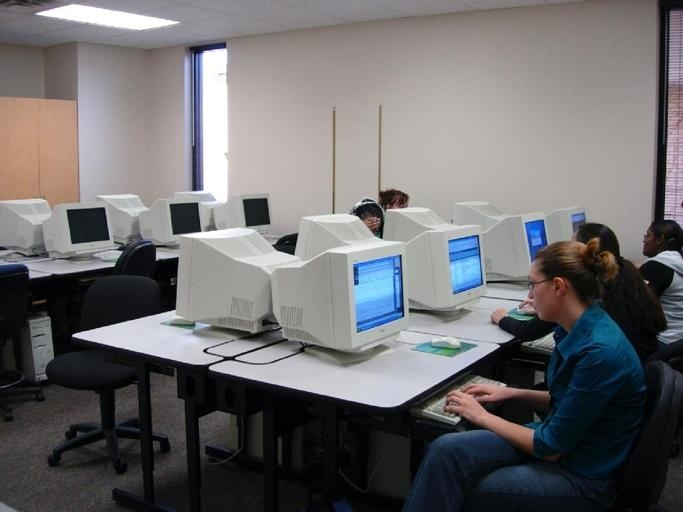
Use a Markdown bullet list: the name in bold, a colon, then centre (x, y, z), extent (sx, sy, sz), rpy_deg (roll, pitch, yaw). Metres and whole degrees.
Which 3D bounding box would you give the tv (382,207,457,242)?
- **tv**: centre (0.492, -0.212, 3.419), extent (0.283, 0.214, 0.288), rpy_deg (3, 12, 34)

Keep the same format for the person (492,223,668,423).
- **person**: centre (1.246, 0.246, 2.597), extent (0.633, 0.577, 1.151), rpy_deg (-9, 12, -39)

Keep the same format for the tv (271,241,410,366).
- **tv**: centre (-0.007, 0.133, 2.399), extent (0.498, 0.466, 0.533), rpy_deg (6, 12, 34)

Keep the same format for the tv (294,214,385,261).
- **tv**: centre (-0.027, -0.133, 2.933), extent (0.321, 0.242, 0.316), rpy_deg (13, 19, 42)

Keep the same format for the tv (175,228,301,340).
- **tv**: centre (-0.534, 0.092, 2.619), extent (0.542, 0.412, 0.456), rpy_deg (10, 14, 32)

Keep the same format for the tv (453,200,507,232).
- **tv**: centre (1.137, -0.348, 4.206), extent (0.338, 0.234, 0.342), rpy_deg (-2, 10, 5)

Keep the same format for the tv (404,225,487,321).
- **tv**: centre (0.612, 0.017, 3.059), extent (0.450, 0.541, 0.618), rpy_deg (7, 13, 39)

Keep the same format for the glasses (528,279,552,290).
- **glasses**: centre (0.714, 0.101, 1.820), extent (0.083, 0.026, 0.084), rpy_deg (0, 11, 31)

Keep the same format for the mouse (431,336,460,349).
- **mouse**: centre (0.495, 0.407, 2.437), extent (0.101, 0.038, 0.060), rpy_deg (0, 2, 21)

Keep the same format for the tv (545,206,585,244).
- **tv**: centre (1.807, -0.246, 4.101), extent (0.180, 0.292, 0.339), rpy_deg (9, 13, 40)
